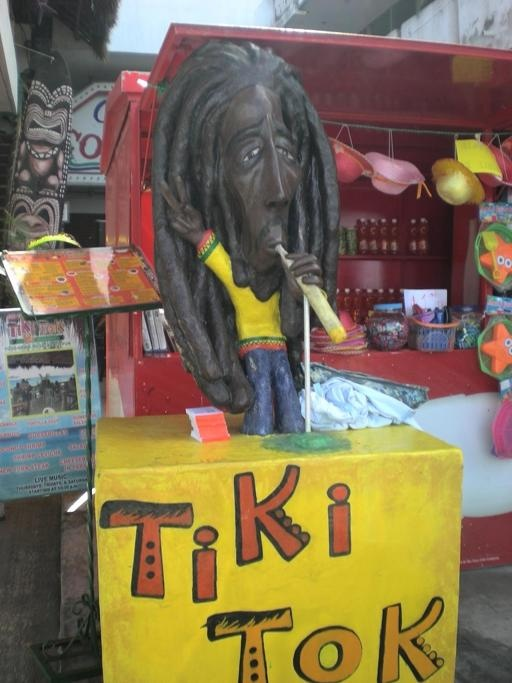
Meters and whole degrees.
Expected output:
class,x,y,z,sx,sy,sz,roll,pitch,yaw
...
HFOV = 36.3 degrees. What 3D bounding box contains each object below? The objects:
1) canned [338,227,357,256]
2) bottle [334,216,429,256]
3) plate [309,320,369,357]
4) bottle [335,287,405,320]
class,x,y,z,sx,sy,sz,roll,pitch,yaw
canned,0.526,-0.573,4.503,0.088,0.146,0.046,-1,4,-2
bottle,0.758,-0.617,4.607,0.607,0.223,0.141,-3,5,-19
plate,0.363,-0.006,3.283,0.325,0.125,0.098,-5,7,-33
bottle,0.678,-0.208,4.541,0.426,0.201,0.227,-5,7,-32
